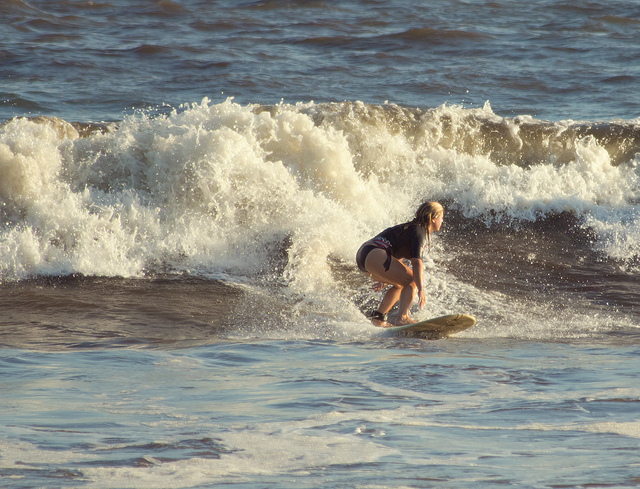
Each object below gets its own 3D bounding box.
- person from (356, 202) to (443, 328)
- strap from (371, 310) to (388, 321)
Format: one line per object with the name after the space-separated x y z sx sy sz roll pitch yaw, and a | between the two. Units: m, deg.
1.136 0.276 18.834 1.130 1.889 0.627 5 13 2 | person
0.911 1.057 19.162 0.240 0.144 0.167 -1 12 -14 | strap
